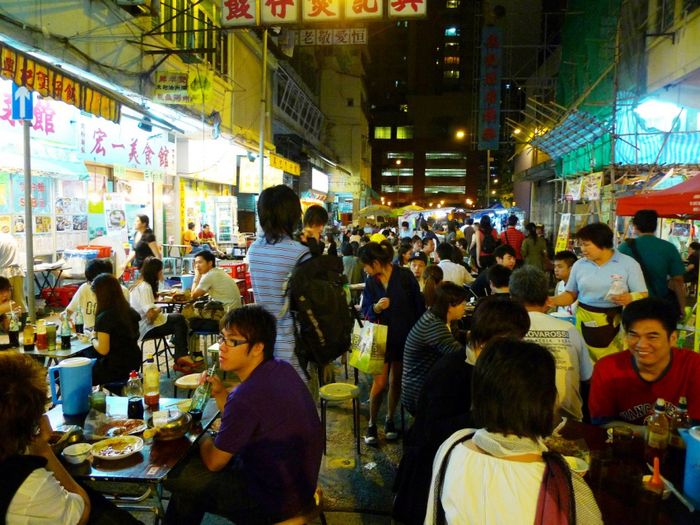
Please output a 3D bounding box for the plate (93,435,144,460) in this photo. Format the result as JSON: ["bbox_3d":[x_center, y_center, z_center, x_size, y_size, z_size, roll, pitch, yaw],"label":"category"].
[{"bbox_3d":[-1.622,1.292,3.912,0.341,0.087,0.269,-2,3,-27],"label":"plate"}]

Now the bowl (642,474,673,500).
[{"bbox_3d":[1.884,1.382,3.443,0.140,0.058,0.118,2,-3,34],"label":"bowl"}]

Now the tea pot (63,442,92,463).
[{"bbox_3d":[-1.855,1.293,3.823,0.091,0.057,0.142,8,-3,-8],"label":"tea pot"}]

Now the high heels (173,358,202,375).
[{"bbox_3d":[-2.331,1.412,7.806,0.480,0.209,0.171,3,13,12],"label":"high heels"}]

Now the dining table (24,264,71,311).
[{"bbox_3d":[-5.625,0.484,10.426,0.816,0.827,0.851,2,2,28],"label":"dining table"}]

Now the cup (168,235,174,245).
[{"bbox_3d":[-4.997,-0.612,15.712,0.183,0.258,0.218,1,-5,-11],"label":"cup"}]

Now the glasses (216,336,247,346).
[{"bbox_3d":[-0.797,0.539,3.840,0.187,0.064,0.036,-1,3,13],"label":"glasses"}]
